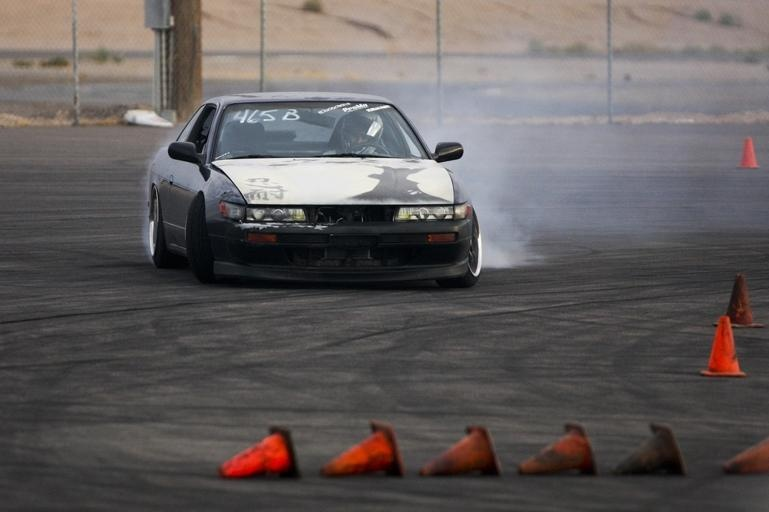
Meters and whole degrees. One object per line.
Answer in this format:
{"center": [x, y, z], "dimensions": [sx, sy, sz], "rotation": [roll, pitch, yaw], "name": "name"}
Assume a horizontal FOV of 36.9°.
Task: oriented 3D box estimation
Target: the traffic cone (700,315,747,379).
{"center": [2.196, 0.600, 7.617], "dimensions": [0.405, 0.425, 0.338], "rotation": [2, -1, -1], "name": "traffic cone"}

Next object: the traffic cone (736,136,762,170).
{"center": [7.101, -2.000, 22.308], "dimensions": [0.496, 0.600, 0.501], "rotation": [-1, 5, 2], "name": "traffic cone"}

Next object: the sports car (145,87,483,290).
{"center": [-0.711, -0.614, 10.782], "dimensions": [2.214, 1.753, 2.967], "rotation": [-9, 14, -42], "name": "sports car"}

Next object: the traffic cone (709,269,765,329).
{"center": [2.740, 0.340, 8.986], "dimensions": [0.416, 0.409, 0.362], "rotation": [1, 5, 14], "name": "traffic cone"}

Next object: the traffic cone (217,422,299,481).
{"center": [-0.635, 0.993, 5.840], "dimensions": [0.399, 0.226, 0.170], "rotation": [0, 11, -7], "name": "traffic cone"}
